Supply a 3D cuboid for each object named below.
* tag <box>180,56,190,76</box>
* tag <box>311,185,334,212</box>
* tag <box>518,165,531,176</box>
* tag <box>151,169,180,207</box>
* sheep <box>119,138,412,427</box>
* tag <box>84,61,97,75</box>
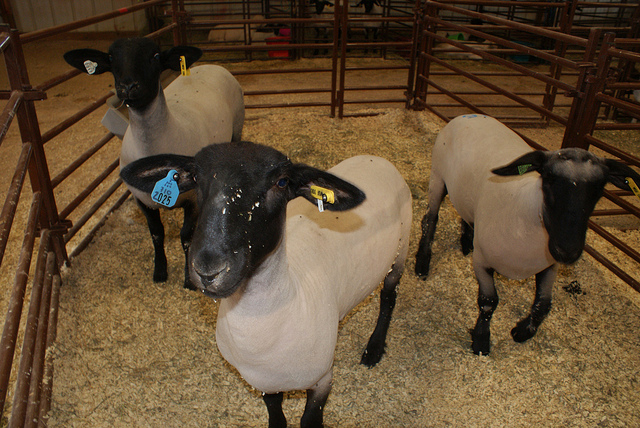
[{"bbox_3d":[-1.588,-1.738,5.530,0.086,0.138,0.146,-9,64,2],"label":"tag"},{"bbox_3d":[0.007,-0.105,3.229,0.181,0.173,0.051,17,29,33],"label":"tag"},{"bbox_3d":[1.749,-0.390,4.064,0.081,0.072,0.008,-5,37,6],"label":"tag"},{"bbox_3d":[-1.031,-0.183,3.190,0.179,0.242,0.058,26,3,-14],"label":"tag"},{"bbox_3d":[-0.134,0.501,3.787,1.865,2.283,1.176,-23,41,-33],"label":"sheep"},{"bbox_3d":[-2.344,-1.514,4.877,0.094,0.119,0.043,-16,17,-17],"label":"tag"}]
